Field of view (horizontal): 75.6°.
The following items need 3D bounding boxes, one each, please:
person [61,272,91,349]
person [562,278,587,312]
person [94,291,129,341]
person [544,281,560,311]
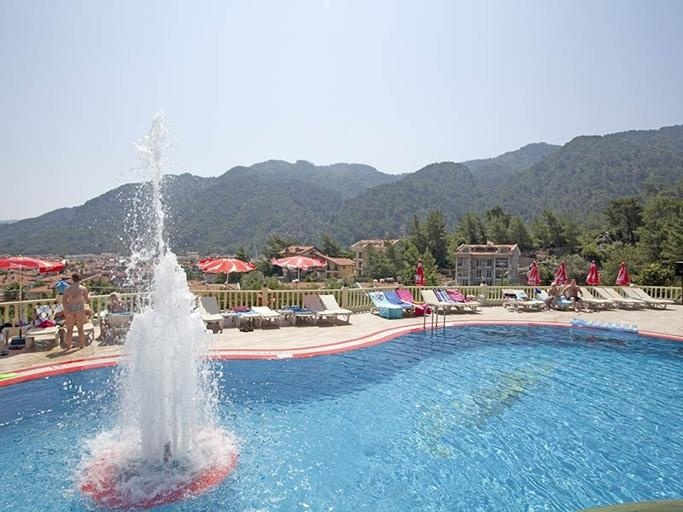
[{"bbox_3d":[-7.468,1.655,12.366,0.612,1.851,0.449,-5,13,-32],"label":"person"},{"bbox_3d":[11.281,1.774,21.009,1.045,1.343,1.601,4,11,8],"label":"person"},{"bbox_3d":[-7.096,1.784,13.723,0.876,1.340,0.876,-1,-5,-14],"label":"person"},{"bbox_3d":[10.195,1.944,21.338,0.730,1.872,1.110,2,-25,29],"label":"person"}]
